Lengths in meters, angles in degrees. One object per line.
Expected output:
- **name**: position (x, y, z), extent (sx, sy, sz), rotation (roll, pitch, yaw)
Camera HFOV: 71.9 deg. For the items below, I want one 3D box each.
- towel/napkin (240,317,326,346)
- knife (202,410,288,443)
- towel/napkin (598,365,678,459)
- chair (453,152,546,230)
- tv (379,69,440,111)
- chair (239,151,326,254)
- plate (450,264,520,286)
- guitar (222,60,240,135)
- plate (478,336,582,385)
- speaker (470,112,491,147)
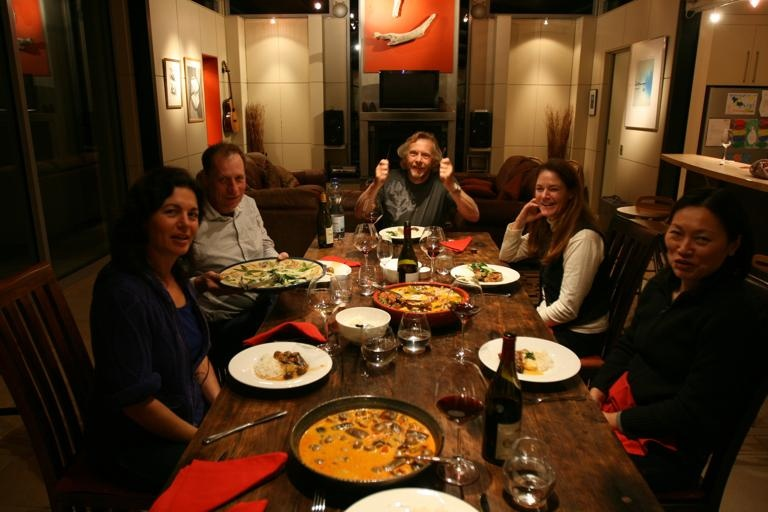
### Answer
- **towel/napkin**: position (-0.472, 0.364, 2.531), extent (0.241, 0.089, 0.244), rotation (-2, -3, 34)
- **knife**: position (-0.513, 0.635, 1.958), extent (0.233, 0.012, 0.034), rotation (-12, 27, -30)
- **towel/napkin**: position (1.111, 0.715, 2.362), extent (0.264, 0.171, 0.324), rotation (11, 44, 24)
- **chair**: position (1.325, -0.726, 6.500), extent (0.958, 0.918, 1.668), rotation (6, 29, 8)
- **tv**: position (0.441, -2.932, 9.107), extent (1.040, 0.635, 0.552), rotation (1, 21, 2)
- **chair**: position (-1.176, -0.684, 6.430), extent (1.005, 1.169, 1.804), rotation (3, 19, -4)
- **plate**: position (0.597, 0.105, 3.015), extent (0.214, 0.032, 0.214), rotation (4, 22, 8)
- **guitar**: position (-2.573, -2.542, 8.683), extent (0.245, 1.246, 0.769), rotation (-7, 22, -14)
- **plate**: position (0.633, 0.446, 2.275), extent (0.285, 0.041, 0.289), rotation (4, 16, 15)
- **speaker**: position (1.658, -2.165, 9.021), extent (0.421, 0.746, 0.410), rotation (2, 35, 5)
